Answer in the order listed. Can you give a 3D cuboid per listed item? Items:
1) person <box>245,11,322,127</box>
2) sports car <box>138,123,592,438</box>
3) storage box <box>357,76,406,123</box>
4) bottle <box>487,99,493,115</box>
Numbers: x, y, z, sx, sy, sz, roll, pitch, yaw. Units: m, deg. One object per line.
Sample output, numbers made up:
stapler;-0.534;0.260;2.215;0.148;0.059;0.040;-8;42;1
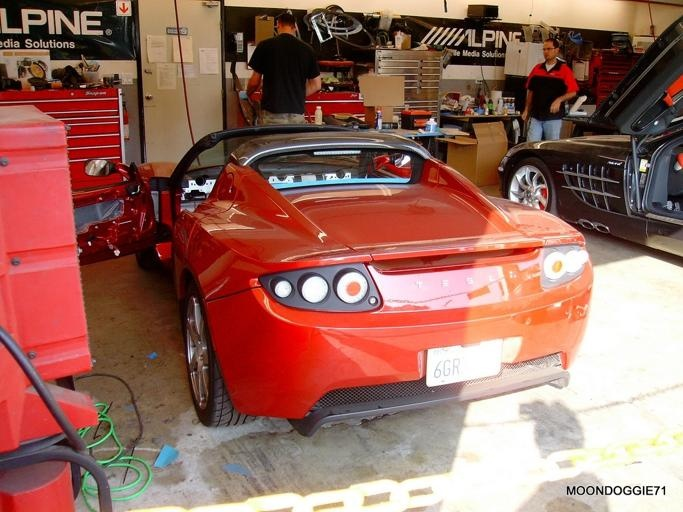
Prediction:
person;-0.800;-2.552;5.923;0.999;1.420;0.483;-4;24;-11
sports car;-0.260;-0.310;3.366;2.226;1.134;3.762;-3;21;-22
storage box;0.619;-2.684;7.141;0.935;0.879;0.752;0;27;-8
bottle;3.474;-3.482;10.028;0.143;0.304;0.420;8;24;16
